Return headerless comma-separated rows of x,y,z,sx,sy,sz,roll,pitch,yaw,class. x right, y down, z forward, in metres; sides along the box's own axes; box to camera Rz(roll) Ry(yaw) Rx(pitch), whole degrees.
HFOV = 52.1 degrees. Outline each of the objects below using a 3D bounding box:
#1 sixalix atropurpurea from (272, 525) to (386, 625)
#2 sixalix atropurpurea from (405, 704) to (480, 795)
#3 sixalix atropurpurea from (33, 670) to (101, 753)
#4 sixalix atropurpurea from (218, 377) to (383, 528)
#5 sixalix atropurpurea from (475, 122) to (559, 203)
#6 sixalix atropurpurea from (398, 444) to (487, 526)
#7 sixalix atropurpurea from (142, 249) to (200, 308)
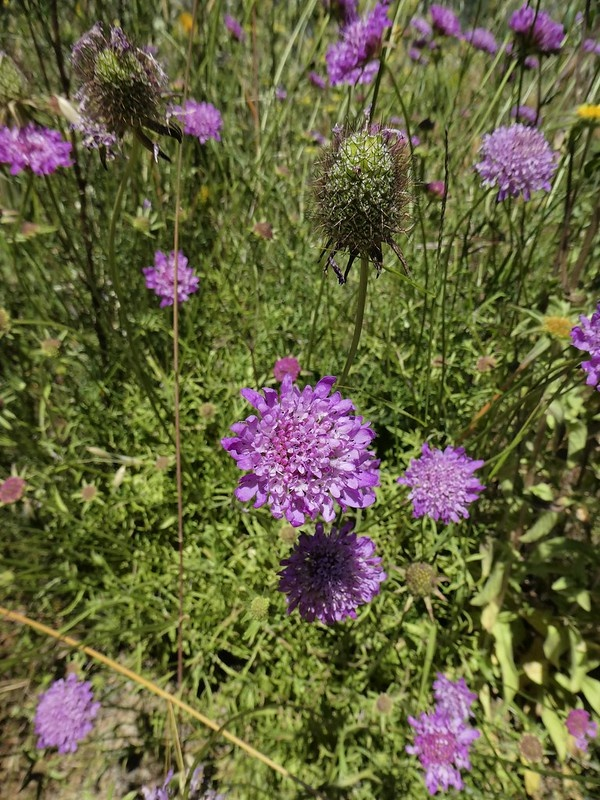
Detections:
0.093,0.592,2.042,0.313,0.181,0.407,0,73,0,sixalix atropurpurea
0.442,1.096,1.910,0.229,0.170,0.220,9,73,1,sixalix atropurpurea
-0.729,0.988,1.943,0.182,0.115,0.212,20,74,4,sixalix atropurpurea
0.008,0.142,1.697,0.423,0.171,0.387,-6,75,-4,sixalix atropurpurea
0.782,-0.882,2.237,0.256,0.129,0.223,10,74,0,sixalix atropurpurea
0.478,0.278,2.114,0.254,0.199,0.252,9,73,1,sixalix atropurpurea
-0.512,-0.445,2.436,0.251,0.116,0.302,4,81,-16,sixalix atropurpurea
